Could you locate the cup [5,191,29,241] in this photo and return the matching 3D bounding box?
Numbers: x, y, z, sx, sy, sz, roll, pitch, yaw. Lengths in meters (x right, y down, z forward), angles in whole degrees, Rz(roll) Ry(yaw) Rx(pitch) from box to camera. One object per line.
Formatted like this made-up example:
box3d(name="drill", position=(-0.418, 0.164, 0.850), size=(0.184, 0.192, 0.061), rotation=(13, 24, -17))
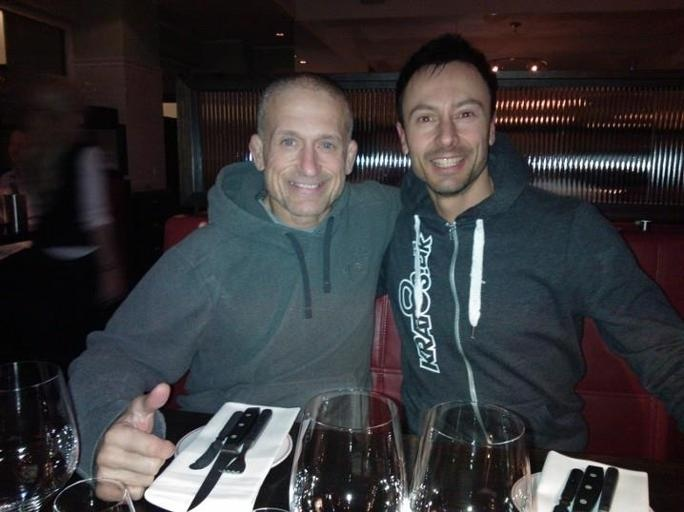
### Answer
box3d(name="cup", position=(-1.913, -0.237, 3.288), size=(0.125, 0.271, 0.361), rotation=(-2, 6, -30))
